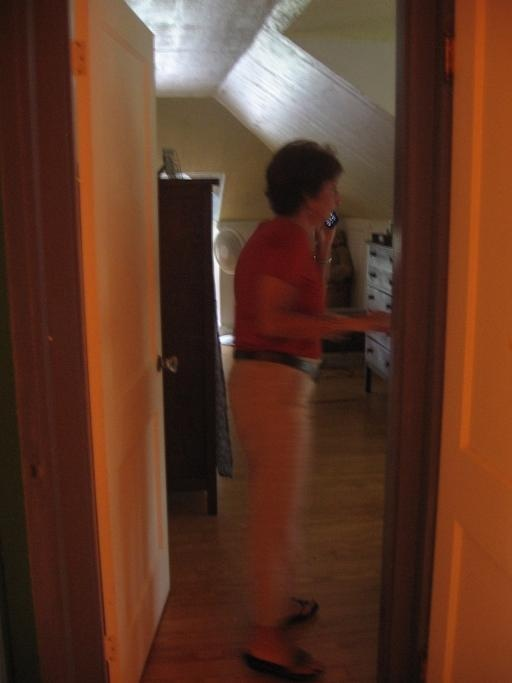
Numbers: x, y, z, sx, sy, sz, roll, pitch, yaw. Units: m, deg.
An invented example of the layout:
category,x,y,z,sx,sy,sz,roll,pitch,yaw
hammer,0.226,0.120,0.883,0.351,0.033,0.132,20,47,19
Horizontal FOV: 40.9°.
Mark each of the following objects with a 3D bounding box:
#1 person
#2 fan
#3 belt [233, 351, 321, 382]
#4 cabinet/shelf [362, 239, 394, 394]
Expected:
category,x,y,z,sx,sy,sz,roll,pitch,yaw
person,0.124,0.169,1.961,0.371,1.456,0.436,1,9,9
fan,-0.120,-0.253,3.168,0.132,0.596,0.088,8,40,10
belt,0.052,0.060,1.870,0.232,0.086,0.082,0,10,1
cabinet/shelf,0.810,-0.321,4.315,0.174,0.679,0.453,-2,7,-7
